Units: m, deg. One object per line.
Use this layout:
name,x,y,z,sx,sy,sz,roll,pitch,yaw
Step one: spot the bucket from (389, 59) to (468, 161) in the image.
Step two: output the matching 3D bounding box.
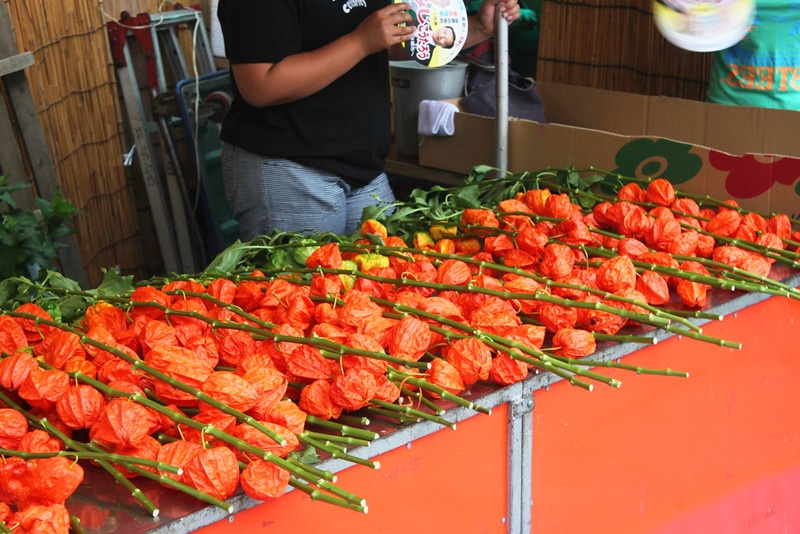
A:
bucket,0.118,-0.706,2.825,0.405,0.405,0.385,1,20,0

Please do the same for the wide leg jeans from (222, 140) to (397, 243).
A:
wide leg jeans,-0.323,-0.266,2.318,0.637,0.361,0.482,-6,17,-1
